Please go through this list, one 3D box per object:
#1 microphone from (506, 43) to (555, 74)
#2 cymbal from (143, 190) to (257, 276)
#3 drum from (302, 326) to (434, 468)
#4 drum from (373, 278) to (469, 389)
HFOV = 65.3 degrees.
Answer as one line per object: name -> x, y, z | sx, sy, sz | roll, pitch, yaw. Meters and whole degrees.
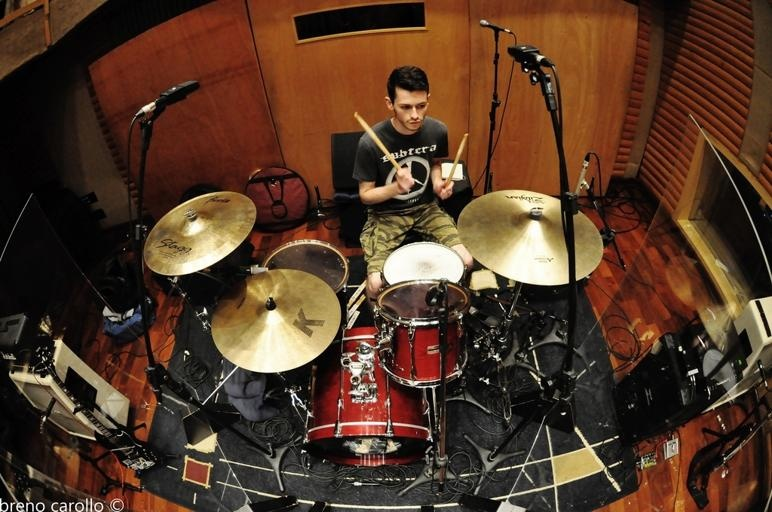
microphone -> 0.938, -1.266, 3.929 | 0.148, 0.112, 0.492 | -12, 43, -6
cymbal -> -1.641, -0.220, 5.099 | 0.953, 0.209, 0.996 | -21, 29, -1
drum -> -0.152, 1.091, 5.034 | 0.956, 1.037, 0.965 | -4, -2, 34
drum -> 0.296, 0.654, 4.605 | 0.528, 0.548, 0.557 | -3, 9, -9
